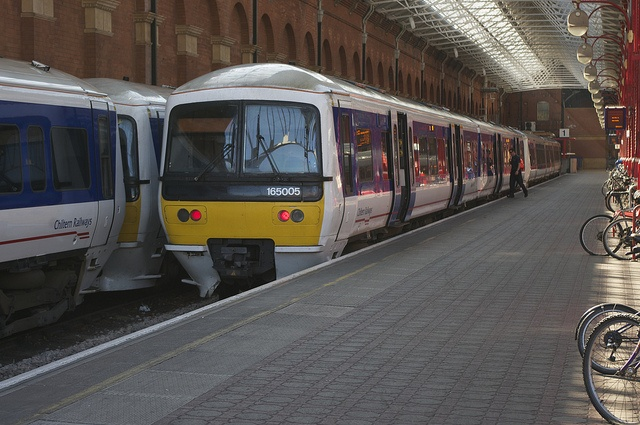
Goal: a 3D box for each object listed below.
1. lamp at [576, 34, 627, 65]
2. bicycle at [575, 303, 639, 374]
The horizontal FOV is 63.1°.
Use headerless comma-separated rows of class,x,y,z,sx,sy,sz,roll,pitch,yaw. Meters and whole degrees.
lamp,11.692,-6.816,21.637,2.317,1.331,0.729,5,9,-14
bicycle,2.560,1.098,4.859,0.588,0.571,0.586,0,2,8
